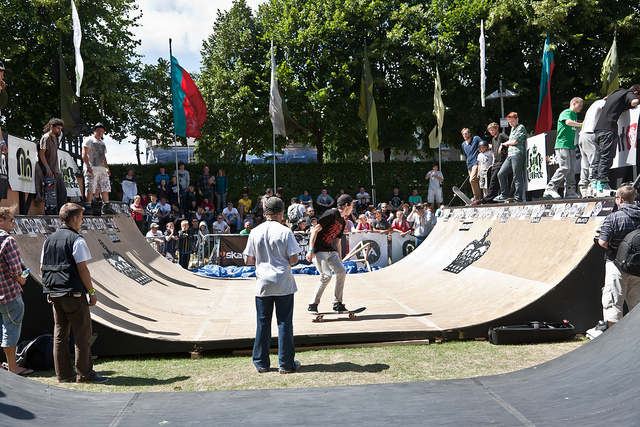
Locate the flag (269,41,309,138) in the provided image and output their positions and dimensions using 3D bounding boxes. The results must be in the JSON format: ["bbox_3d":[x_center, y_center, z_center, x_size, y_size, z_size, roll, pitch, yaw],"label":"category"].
[{"bbox_3d":[-1.765,-4.486,43.366,1.255,5.100,1.009,-3,10,-17],"label":"flag"}]

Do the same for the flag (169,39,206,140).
[{"bbox_3d":[-5.713,-4.993,42.692,1.278,3.438,0.967,-4,6,-10],"label":"flag"}]

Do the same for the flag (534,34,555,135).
[{"bbox_3d":[9.716,-5.602,43.046,0.754,4.253,2.653,-1,5,12],"label":"flag"}]

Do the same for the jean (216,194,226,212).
[{"bbox_3d":[-4.526,-0.495,45.194,0.493,0.770,0.520,-4,5,-15],"label":"jean"}]

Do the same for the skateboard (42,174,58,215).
[{"bbox_3d":[-9.364,-0.658,34.418,0.414,1.611,0.094,-8,-12,-3],"label":"skateboard"}]

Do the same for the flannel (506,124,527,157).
[{"bbox_3d":[6.885,-2.635,35.260,0.698,1.221,1.116,-1,9,-13],"label":"flannel"}]

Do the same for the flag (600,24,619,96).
[{"bbox_3d":[12.601,-6.309,43.149,0.594,2.358,1.823,-2,5,5],"label":"flag"}]
